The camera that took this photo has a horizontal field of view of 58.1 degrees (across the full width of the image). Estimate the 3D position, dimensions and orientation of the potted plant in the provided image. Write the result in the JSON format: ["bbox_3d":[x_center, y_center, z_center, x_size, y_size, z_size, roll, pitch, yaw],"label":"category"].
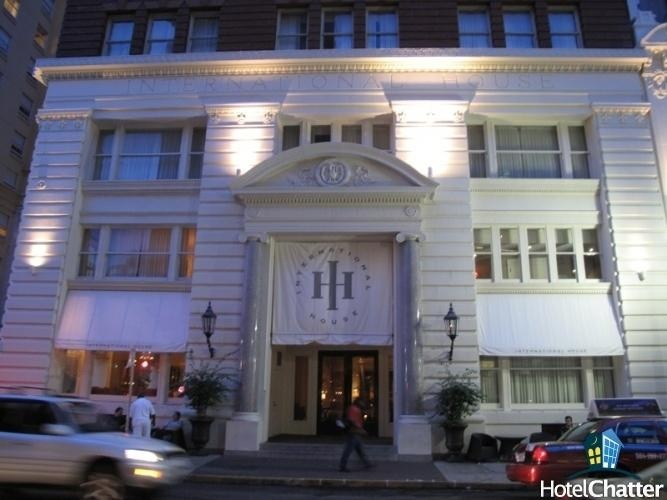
[{"bbox_3d":[4.278,5.673,21.375,1.309,3.244,1.509,4,-5,-43],"label":"potted plant"}]

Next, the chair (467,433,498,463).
[{"bbox_3d":[5.187,7.035,21.260,1.034,0.870,0.956,9,-27,-20],"label":"chair"}]

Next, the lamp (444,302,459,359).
[{"bbox_3d":[4.292,3.034,21.895,0.518,2.131,0.834,1,-3,10],"label":"lamp"}]

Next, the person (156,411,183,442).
[{"bbox_3d":[-5.955,6.467,21.716,1.176,1.099,0.921,4,-16,-7],"label":"person"}]
